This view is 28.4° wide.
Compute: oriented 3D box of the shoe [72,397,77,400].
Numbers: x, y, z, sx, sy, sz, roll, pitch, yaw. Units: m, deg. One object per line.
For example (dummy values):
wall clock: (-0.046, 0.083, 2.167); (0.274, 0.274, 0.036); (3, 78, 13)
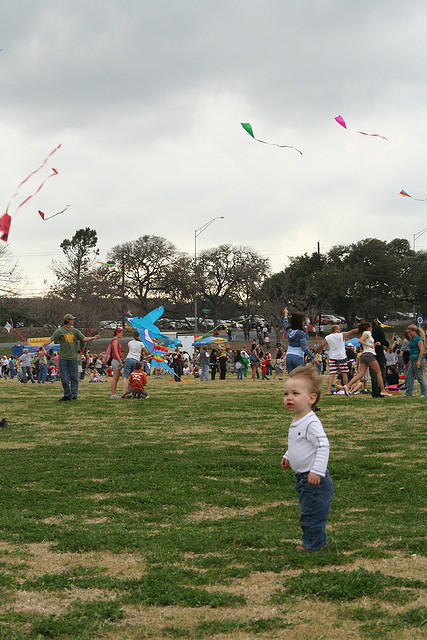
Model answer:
shoe: (-2.499, 1.401, 15.092); (0.034, 0.039, 0.123); (-1, 2, 14)

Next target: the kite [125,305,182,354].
kite: (-1.862, 0.368, 26.996); (2.072, 2.343, 0.422); (19, -46, -30)

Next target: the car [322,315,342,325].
car: (10.711, -0.018, 76.625); (1.401, 0.961, 2.702); (1, -7, -3)

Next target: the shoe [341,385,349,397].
shoe: (2.342, 1.249, 14.886); (0.071, 0.175, 0.083); (-12, 14, 44)

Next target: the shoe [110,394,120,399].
shoe: (-1.819, 1.401, 15.499); (0.157, 0.067, 0.353); (-1, 2, -10)

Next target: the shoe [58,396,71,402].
shoe: (-2.652, 1.399, 14.982); (0.243, 0.091, 0.078); (2, 0, 25)

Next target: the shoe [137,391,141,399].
shoe: (-1.390, 1.385, 15.665); (0.047, 0.122, 0.041); (8, -2, 2)

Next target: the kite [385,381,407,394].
kite: (3.661, 1.371, 17.129); (0.233, 0.128, 0.355); (2, 8, 20)

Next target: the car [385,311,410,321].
car: (17.856, -0.141, 81.357); (2.719, 1.063, 1.361); (-2, 5, 7)

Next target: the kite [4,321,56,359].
kite: (-10.138, 1.034, 46.085); (3.225, 0.789, 0.110); (40, -9, 9)

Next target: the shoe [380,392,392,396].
shoe: (3.060, 1.307, 14.910); (0.208, 0.079, 0.064); (-3, -2, -8)

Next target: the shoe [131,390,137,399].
shoe: (-1.481, 1.372, 15.646); (0.064, 0.162, 0.123); (1, -7, -25)

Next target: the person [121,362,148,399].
person: (-1.491, 1.113, 15.541); (0.444, 0.685, 0.624); (-1, 3, -4)

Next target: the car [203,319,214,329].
car: (-0.507, 0.367, 73.614); (1.065, 0.643, 1.516); (1, -5, 1)

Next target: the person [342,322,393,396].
person: (2.622, 0.694, 14.425); (0.796, 1.317, 1.147); (-1, 3, 8)
